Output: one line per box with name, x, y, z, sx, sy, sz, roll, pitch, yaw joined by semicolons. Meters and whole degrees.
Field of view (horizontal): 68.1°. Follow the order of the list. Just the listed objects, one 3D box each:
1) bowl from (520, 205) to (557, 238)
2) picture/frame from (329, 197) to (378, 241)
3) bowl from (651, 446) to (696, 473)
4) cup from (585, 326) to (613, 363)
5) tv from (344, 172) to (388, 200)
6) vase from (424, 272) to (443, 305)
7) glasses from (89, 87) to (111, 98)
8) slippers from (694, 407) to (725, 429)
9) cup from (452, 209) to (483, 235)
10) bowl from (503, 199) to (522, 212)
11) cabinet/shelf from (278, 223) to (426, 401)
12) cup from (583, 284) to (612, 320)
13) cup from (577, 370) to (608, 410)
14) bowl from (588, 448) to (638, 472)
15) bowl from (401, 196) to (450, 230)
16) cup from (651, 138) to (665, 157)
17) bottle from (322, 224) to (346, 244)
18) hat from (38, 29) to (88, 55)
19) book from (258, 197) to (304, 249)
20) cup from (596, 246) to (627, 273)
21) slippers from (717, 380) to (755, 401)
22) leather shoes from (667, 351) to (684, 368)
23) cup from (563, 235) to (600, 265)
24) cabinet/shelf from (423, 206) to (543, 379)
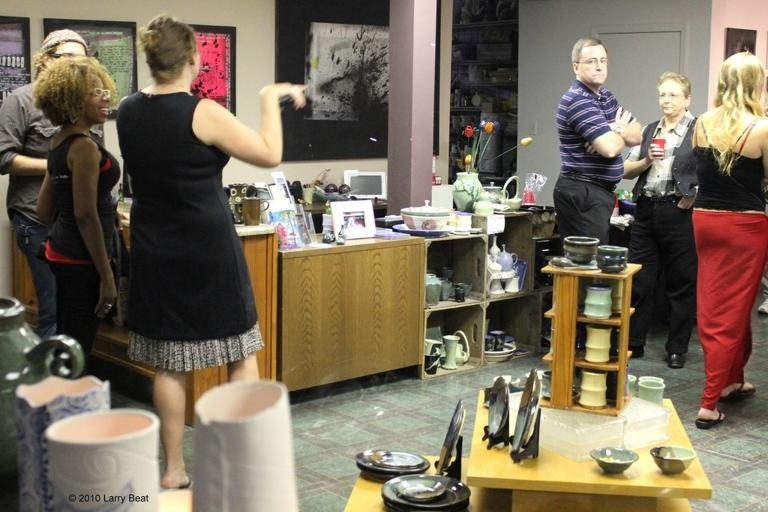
bowl;1.446;-0.324;5.303;0.330;0.215;0.313;-1;6;0
picture/frame;-0.241;-0.277;4.431;0.492;0.354;0.039;3;-14;-42
bowl;1.154;0.804;2.276;0.161;0.078;0.181;6;12;28
cup;0.936;0.384;2.484;0.099;0.154;0.058;3;11;14
tv;-0.224;-0.892;7.081;0.536;0.343;0.505;-1;11;-6
vase;0.398;0.276;4.696;0.112;0.244;0.171;4;11;19
glasses;-1.426;-0.822;2.886;0.027;0.048;0.118;3;11;16
slippers;2.166;1.075;3.794;0.106;0.074;0.212;6;11;42
cup;0.714;-0.288;4.850;0.236;0.182;0.198;4;9;24
bowl;1.169;-0.461;5.144;0.110;0.068;0.142;-2;-1;-33
cabinet/shelf;-0.267;0.408;4.215;1.397;1.031;0.474;-4;6;-34
cup;0.919;0.203;2.451;0.140;0.133;0.131;1;-1;0
cup;0.917;0.583;2.488;0.160;0.145;0.127;4;5;38
bowl;0.916;0.814;2.263;0.176;0.070;0.139;3;11;14
bowl;0.327;-0.349;4.726;0.343;0.164;0.359;1;3;0
cup;2.148;-0.845;4.463;0.101;0.157;0.192;5;12;24
bottle;-0.380;-0.165;4.278;0.156;0.125;0.148;0;2;0
hat;-1.962;-1.307;3.475;0.230;0.158;0.223;-3;11;-18
book;-0.726;-0.224;3.947;0.129;0.344;0.377;-8;-1;30
cup;1.004;0.015;2.488;0.121;0.086;0.120;-2;1;0
slippers;2.635;1.005;4.260;0.294;0.080;0.139;-10;15;-21
leather shoes;2.502;0.888;4.871;0.138;0.104;0.149;5;11;24
cup;0.881;-0.031;2.559;0.143;0.095;0.138;2;2;0
cabinet/shelf;0.839;0.300;4.944;1.509;1.209;0.476;-5;6;-39
